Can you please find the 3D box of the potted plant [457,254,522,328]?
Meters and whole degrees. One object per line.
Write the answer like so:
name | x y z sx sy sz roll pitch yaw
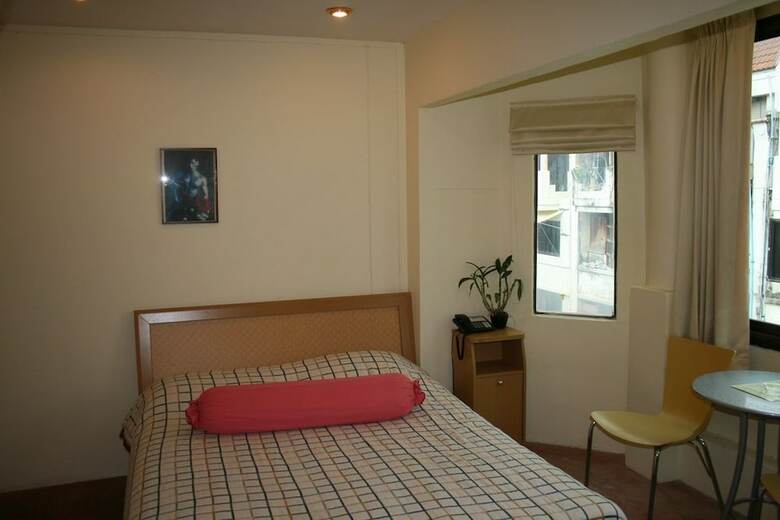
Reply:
potted plant | 0.921 0.308 4.725 0.574 0.530 0.470 1 -8 3

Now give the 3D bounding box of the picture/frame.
picture/frame | -1.577 -0.591 4.257 0.572 0.780 0.052 -1 4 -13

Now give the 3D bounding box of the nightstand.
nightstand | 0.817 1.180 4.694 0.556 1.105 0.426 -2 4 -24
